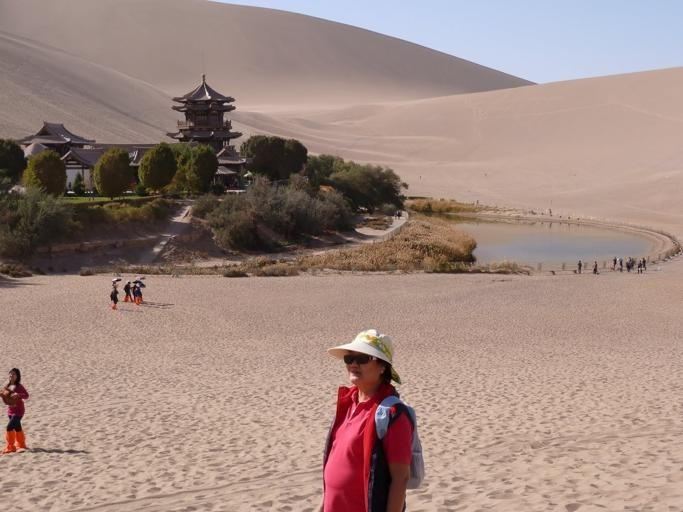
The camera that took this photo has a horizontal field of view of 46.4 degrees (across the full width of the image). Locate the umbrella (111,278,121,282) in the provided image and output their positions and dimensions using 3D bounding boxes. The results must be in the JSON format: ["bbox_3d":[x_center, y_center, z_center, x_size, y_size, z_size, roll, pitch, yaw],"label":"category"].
[{"bbox_3d":[-10.608,1.128,37.343,0.351,0.114,0.353,0,0,16],"label":"umbrella"}]

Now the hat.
[{"bbox_3d":[0.525,1.871,15.175,1.416,0.576,1.020,6,-20,10],"label":"hat"}]

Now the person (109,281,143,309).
[{"bbox_3d":[-9.656,1.774,35.586,1.473,1.067,0.683,1,-13,-14],"label":"person"}]
